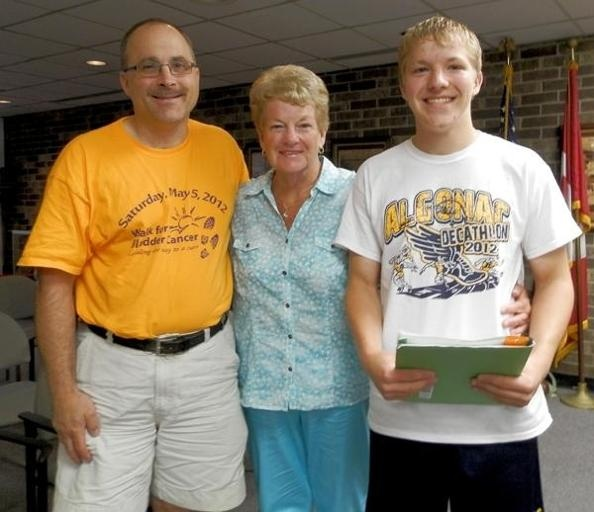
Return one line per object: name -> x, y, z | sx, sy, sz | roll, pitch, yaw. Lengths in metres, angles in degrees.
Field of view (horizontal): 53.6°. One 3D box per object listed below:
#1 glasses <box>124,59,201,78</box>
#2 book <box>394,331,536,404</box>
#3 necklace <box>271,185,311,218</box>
glasses -> -0.437, -0.582, 1.863 | 0.234, 0.052, 0.102 | -5, 10, -8
book -> 0.394, 0.269, 1.400 | 0.316, 0.262, 0.042 | 1, 52, 7
necklace -> -0.021, -0.194, 1.981 | 0.124, 0.093, 0.131 | 0, -20, 0
